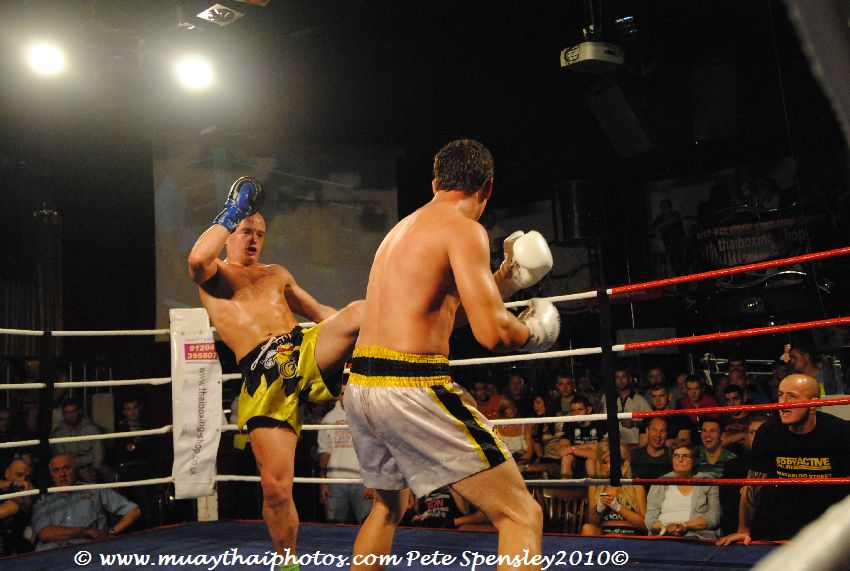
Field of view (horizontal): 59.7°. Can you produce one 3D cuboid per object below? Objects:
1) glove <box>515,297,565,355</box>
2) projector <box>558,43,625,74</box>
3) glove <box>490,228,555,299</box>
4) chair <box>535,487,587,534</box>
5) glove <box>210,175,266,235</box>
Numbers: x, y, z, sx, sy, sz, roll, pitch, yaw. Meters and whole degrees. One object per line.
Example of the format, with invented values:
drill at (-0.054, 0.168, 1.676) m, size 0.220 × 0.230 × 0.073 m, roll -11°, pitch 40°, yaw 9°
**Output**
glove at (0.630, 0.217, 4.176) m, size 0.226 × 0.259 × 0.298 m, roll 2°, pitch -6°, yaw 4°
projector at (1.593, -2.176, 7.067) m, size 0.553 × 0.267 × 0.276 m, roll -1°, pitch -8°, yaw -5°
glove at (0.560, -0.138, 4.359) m, size 0.327 × 0.473 × 0.318 m, roll 13°, pitch 39°, yaw 27°
chair at (1.205, 1.932, 6.578) m, size 0.428 × 0.559 × 0.401 m, roll 0°, pitch 0°, yaw 9°
glove at (-1.337, -0.549, 5.337) m, size 0.272 × 0.441 × 0.204 m, roll 27°, pitch -28°, yaw -17°
